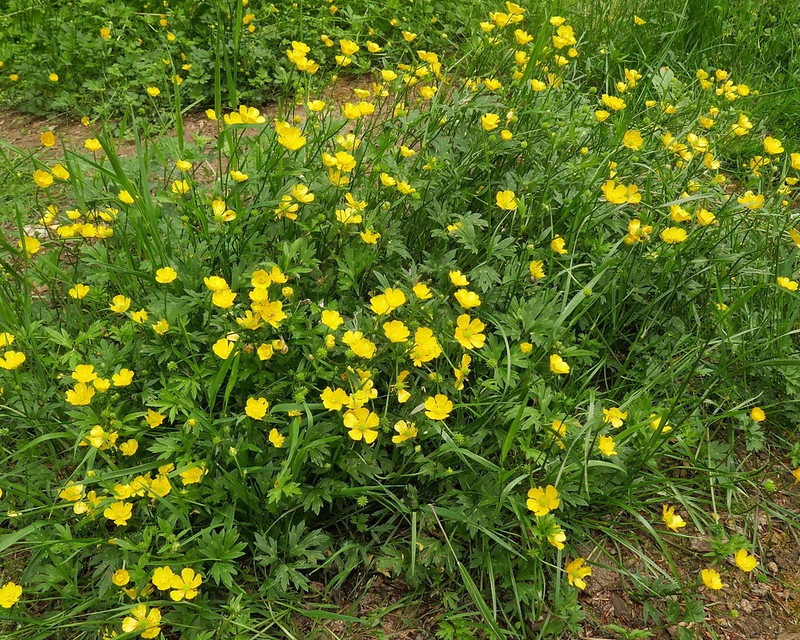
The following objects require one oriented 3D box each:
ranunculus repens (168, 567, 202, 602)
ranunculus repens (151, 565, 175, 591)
[{"bbox_3d":[-0.816,1.015,2.536,0.129,0.059,0.131,-14,71,-21],"label":"ranunculus repens"},{"bbox_3d":[-0.898,0.985,2.526,0.084,0.042,0.084,-24,77,-43],"label":"ranunculus repens"}]
